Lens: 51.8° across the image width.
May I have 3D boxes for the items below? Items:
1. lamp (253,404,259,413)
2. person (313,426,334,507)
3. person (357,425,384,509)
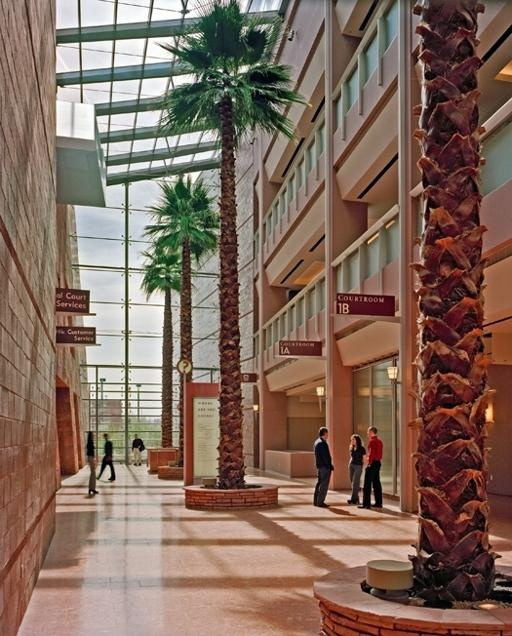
[{"bbox_3d":[-0.076,4.811,28.247,0.339,0.521,0.356,5,2,43],"label":"lamp"},{"bbox_3d":[1.570,3.493,12.387,0.437,1.780,1.257,-2,-13,7],"label":"person"},{"bbox_3d":[2.666,3.441,12.197,0.478,1.826,1.471,-2,-13,11],"label":"person"}]
